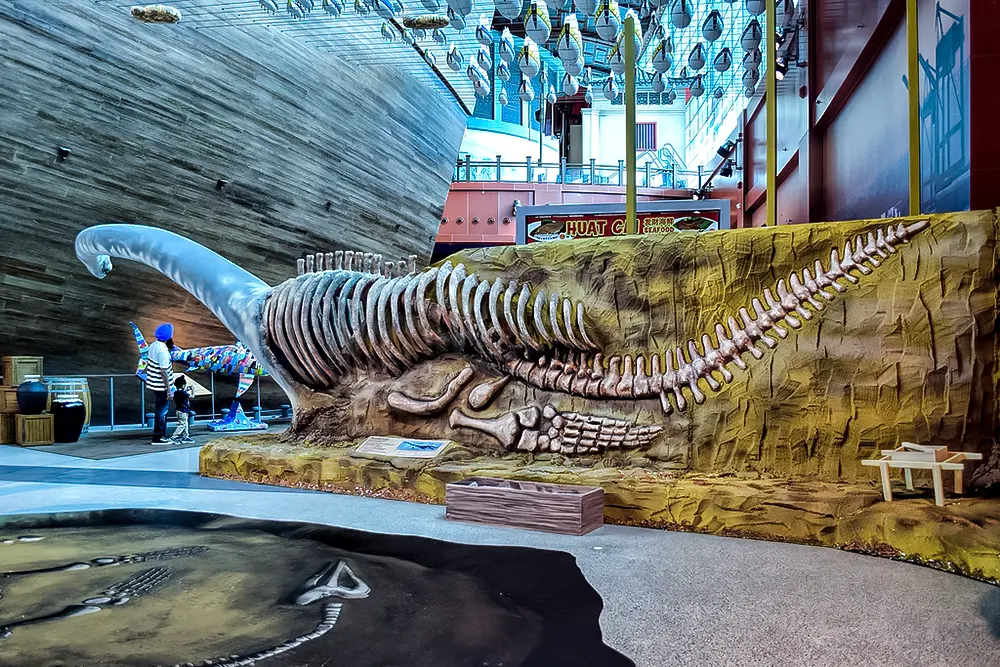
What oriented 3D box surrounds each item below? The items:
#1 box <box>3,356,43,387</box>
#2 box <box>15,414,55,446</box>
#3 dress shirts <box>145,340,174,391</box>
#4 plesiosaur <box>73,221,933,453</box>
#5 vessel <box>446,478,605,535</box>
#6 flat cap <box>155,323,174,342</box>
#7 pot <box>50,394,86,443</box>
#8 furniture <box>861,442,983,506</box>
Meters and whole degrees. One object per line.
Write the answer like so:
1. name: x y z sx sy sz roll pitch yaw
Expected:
1. box: -6.602 0.510 8.869 0.462 0.429 0.472 -2 -3 37
2. box: -6.262 1.283 8.775 0.474 0.431 0.447 0 -3 -17
3. dress shirts: -4.436 0.410 8.401 0.358 0.620 0.552 -4 13 -41
4. plesiosaur: -1.260 -0.038 7.875 10.738 3.060 2.261 7 10 29
5. vessel: 0.170 1.294 4.907 1.178 0.301 0.311 1 6 17
6. flat cap: -4.504 -0.024 8.631 0.274 0.144 0.352 7 25 -11
7. pot: -6.132 1.199 8.987 0.684 0.606 0.654 -6 -12 -1
8. furniture: 2.939 0.944 4.464 0.650 0.358 0.620 3 7 32
